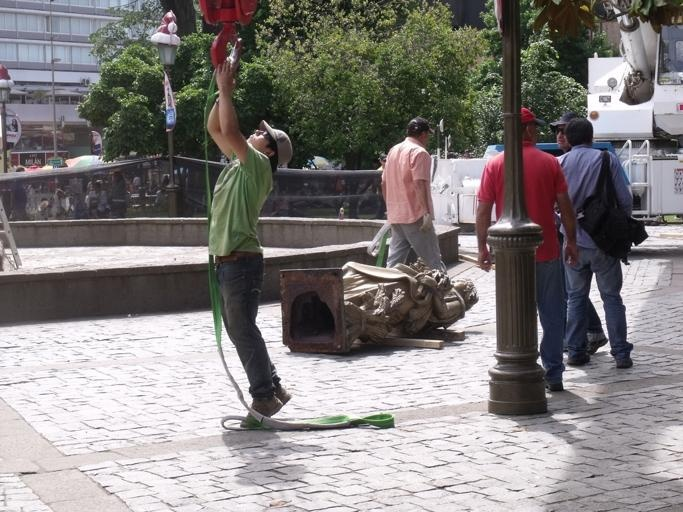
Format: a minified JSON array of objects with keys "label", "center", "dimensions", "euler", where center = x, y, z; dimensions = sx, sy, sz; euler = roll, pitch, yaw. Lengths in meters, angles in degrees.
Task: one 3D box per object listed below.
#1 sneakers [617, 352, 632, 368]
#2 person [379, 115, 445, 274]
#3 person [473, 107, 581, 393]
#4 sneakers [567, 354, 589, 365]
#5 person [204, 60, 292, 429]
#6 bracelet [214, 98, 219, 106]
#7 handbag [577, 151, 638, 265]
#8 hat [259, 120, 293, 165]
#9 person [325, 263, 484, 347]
[{"label":"sneakers","center":[2.730,1.013,11.828],"dimensions":[0.074,0.143,0.216],"euler":[1,4,27]},{"label":"person","center":[0.830,-0.710,14.004],"dimensions":[0.758,1.708,0.398],"euler":[3,12,19]},{"label":"person","center":[1.704,-0.092,11.314],"dimensions":[0.910,2.522,1.164],"euler":[1,12,10]},{"label":"sneakers","center":[2.317,1.008,12.043],"dimensions":[0.232,0.091,0.086],"euler":[-5,9,-30]},{"label":"person","center":[-0.787,-0.126,10.356],"dimensions":[0.667,3.026,0.763],"euler":[2,12,13]},{"label":"bracelet","center":[-1.043,-1.295,10.349],"dimensions":[0.041,0.055,0.018],"euler":[8,-9,44]},{"label":"handbag","center":[2.596,-0.457,11.881],"dimensions":[0.594,1.068,0.366],"euler":[1,12,11]},{"label":"hat","center":[-0.481,-0.947,10.608],"dimensions":[0.211,0.382,0.275],"euler":[-21,24,-6]},{"label":"person","center":[0.651,0.516,13.176],"dimensions":[1.873,0.815,0.494],"euler":[-8,14,-36]}]
